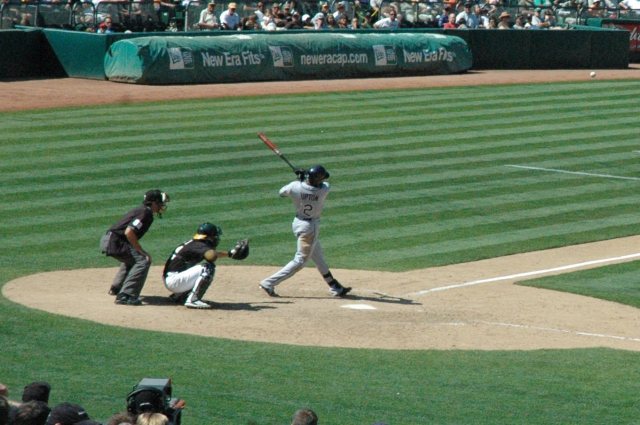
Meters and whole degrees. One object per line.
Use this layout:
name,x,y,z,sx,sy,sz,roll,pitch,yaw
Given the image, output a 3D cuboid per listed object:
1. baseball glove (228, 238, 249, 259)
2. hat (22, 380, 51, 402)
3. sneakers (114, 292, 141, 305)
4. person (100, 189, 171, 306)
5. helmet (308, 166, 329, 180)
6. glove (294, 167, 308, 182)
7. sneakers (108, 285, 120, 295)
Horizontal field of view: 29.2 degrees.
baseball glove,-1.689,0.813,26.024,0.338,0.439,0.545,3,11,10
hat,-5.018,3.183,21.663,0.527,0.361,0.413,12,23,-19
sneakers,-4.024,1.844,25.781,0.531,0.151,0.252,0,7,-5
person,-3.915,0.756,25.854,1.287,2.383,0.790,-3,14,-13
helmet,-0.031,-0.858,26.592,0.427,0.298,0.289,0,11,-3
glove,-0.317,-0.825,26.824,0.194,0.250,0.304,3,-4,-43
sneakers,-4.364,1.668,26.134,0.265,0.226,0.122,7,46,-14
